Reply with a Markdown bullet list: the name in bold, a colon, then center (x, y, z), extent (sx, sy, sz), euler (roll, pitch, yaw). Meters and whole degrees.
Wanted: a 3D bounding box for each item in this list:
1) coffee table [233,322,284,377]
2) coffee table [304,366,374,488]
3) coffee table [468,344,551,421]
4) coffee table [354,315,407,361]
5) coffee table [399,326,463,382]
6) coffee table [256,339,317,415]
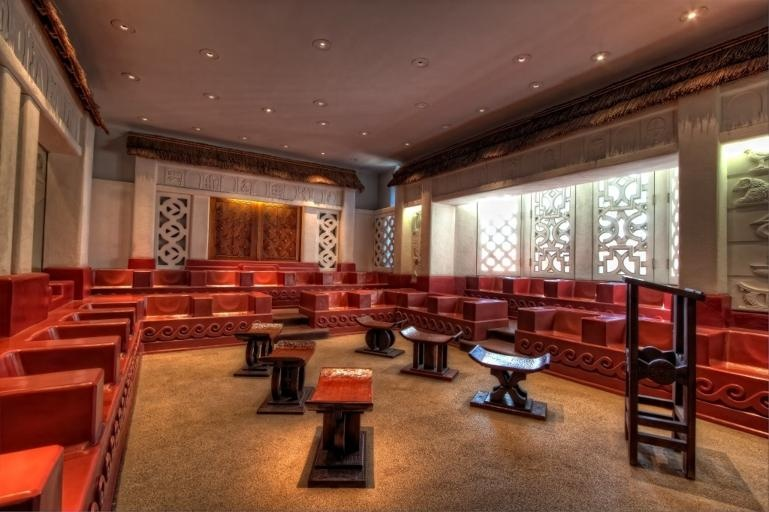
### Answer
- **coffee table**: center (-1.775, 1.334, 6.830), extent (0.553, 0.521, 0.813), euler (1, -3, -1)
- **coffee table**: center (-0.449, 1.754, 4.952), extent (0.671, 0.971, 0.819), euler (0, -1, -2)
- **coffee table**: center (1.554, 1.568, 5.932), extent (0.966, 0.659, 0.497), euler (3, 3, 20)
- **coffee table**: center (-0.060, 1.341, 7.909), extent (0.786, 0.540, 0.475), euler (2, 0, 30)
- **coffee table**: center (0.682, 1.430, 6.926), extent (0.808, 0.586, 0.477), euler (2, 0, 22)
- **coffee table**: center (-1.193, 1.495, 5.912), extent (0.617, 0.737, 0.778), euler (1, -1, -5)
